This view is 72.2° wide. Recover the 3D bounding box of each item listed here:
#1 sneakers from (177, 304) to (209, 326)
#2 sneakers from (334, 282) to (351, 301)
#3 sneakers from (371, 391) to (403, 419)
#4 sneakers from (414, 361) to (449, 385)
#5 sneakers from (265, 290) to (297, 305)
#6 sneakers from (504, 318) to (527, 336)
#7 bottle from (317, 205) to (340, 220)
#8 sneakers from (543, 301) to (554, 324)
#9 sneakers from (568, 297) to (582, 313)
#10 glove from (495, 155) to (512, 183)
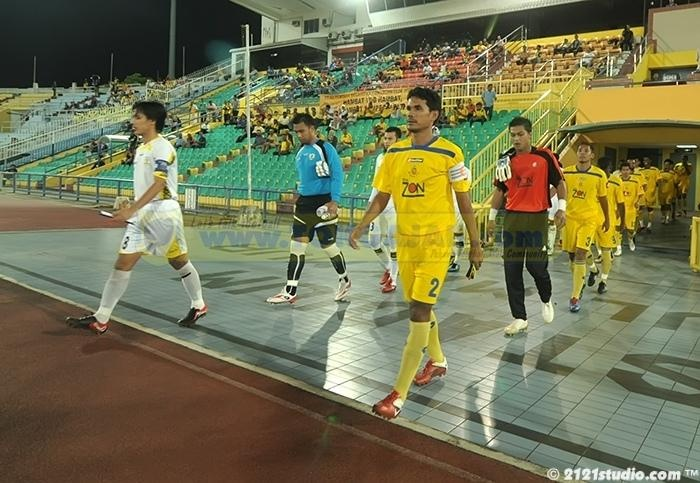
[{"bbox_3d":[-1.932,0.895,5.925,0.176,0.218,0.397,10,14,37],"label":"sneakers"},{"bbox_3d":[-0.114,0.733,7.122,0.195,0.281,0.118,-10,15,-44],"label":"sneakers"},{"bbox_3d":[0.319,1.335,3.939,0.150,0.162,0.277,13,-11,46],"label":"sneakers"},{"bbox_3d":[0.775,1.269,4.729,0.397,0.180,0.147,-11,-7,-33],"label":"sneakers"},{"bbox_3d":[-1.006,0.808,6.970,0.346,0.176,0.189,7,-11,-24],"label":"sneakers"},{"bbox_3d":[2.007,1.044,5.868,0.380,0.157,0.133,9,-15,-42],"label":"sneakers"},{"bbox_3d":[-0.307,-0.400,6.687,0.263,0.174,0.121,-15,19,0],"label":"bottle"},{"bbox_3d":[2.486,0.863,6.100,0.120,0.136,0.348,-11,41,40],"label":"sneakers"},{"bbox_3d":[3.264,0.920,6.936,0.118,0.127,0.321,-6,-9,32],"label":"sneakers"},{"bbox_3d":[1.845,-0.865,5.764,0.102,0.288,0.191,13,-11,-41],"label":"glove"}]
